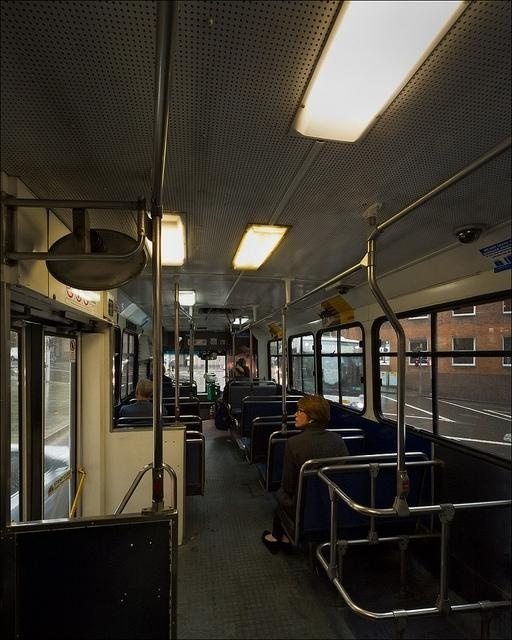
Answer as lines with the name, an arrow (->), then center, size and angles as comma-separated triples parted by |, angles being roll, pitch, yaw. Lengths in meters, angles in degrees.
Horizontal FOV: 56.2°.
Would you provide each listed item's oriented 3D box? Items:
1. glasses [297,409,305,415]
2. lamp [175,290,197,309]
glasses -> 0.364, 0.763, 3.944 | 0.037, 0.013, 0.040 | 13, -31, -16
lamp -> -1.036, -0.294, 7.229 | 0.237, 0.067, 0.276 | -2, -33, 0
